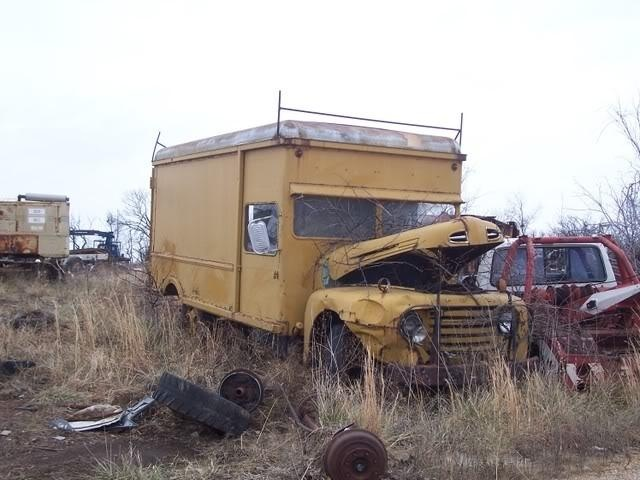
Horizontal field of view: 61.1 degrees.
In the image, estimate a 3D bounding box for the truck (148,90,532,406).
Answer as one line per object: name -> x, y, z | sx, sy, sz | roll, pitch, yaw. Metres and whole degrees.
truck -> 0.127, 0.142, 8.143 | 2.709, 3.315, 5.435 | -1, 1, -34
